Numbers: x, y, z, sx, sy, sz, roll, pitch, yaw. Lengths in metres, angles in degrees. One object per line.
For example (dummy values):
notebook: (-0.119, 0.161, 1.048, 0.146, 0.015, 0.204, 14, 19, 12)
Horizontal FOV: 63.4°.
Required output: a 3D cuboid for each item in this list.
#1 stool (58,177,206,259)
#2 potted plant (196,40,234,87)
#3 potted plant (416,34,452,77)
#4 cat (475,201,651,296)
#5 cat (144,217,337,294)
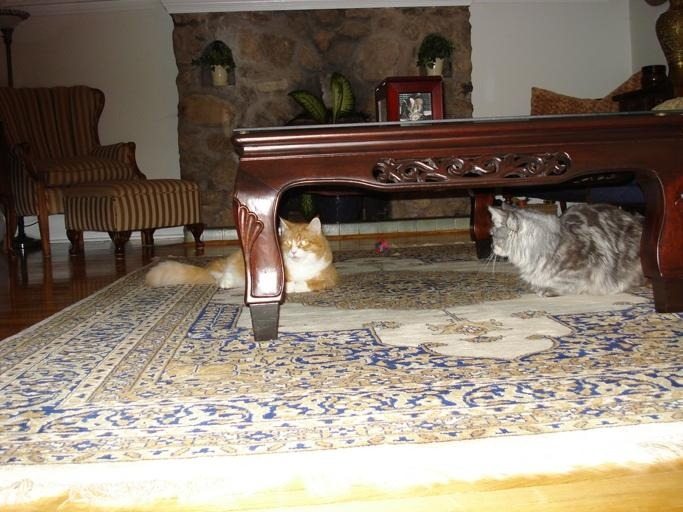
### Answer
stool: (-1.747, -0.358, 4.613, 0.685, 0.377, 0.876, 3, 10, 40)
potted plant: (-1.272, -1.902, 5.468, 0.372, 0.463, 0.211, -2, 12, 13)
potted plant: (0.932, -2.019, 5.528, 0.377, 0.451, 0.386, -3, 11, 11)
cat: (1.007, -0.064, 2.313, 0.721, 0.227, 0.352, -16, 14, -13)
cat: (-0.495, 0.011, 2.814, 0.971, 0.253, 0.361, -3, 3, -2)
